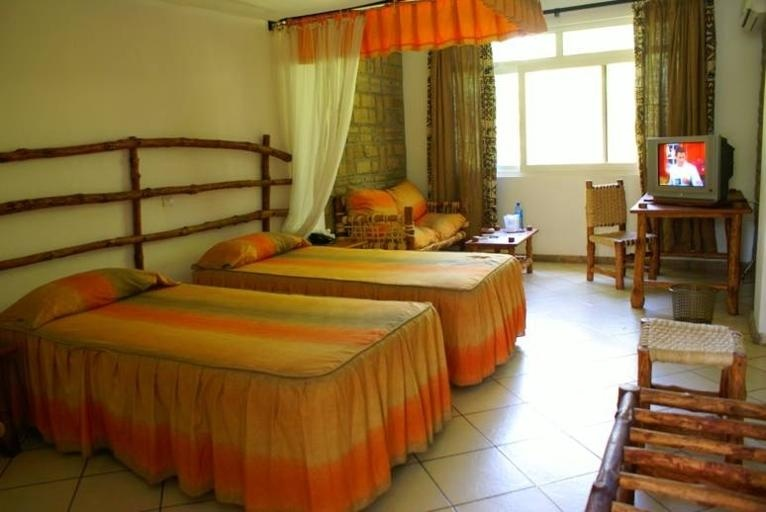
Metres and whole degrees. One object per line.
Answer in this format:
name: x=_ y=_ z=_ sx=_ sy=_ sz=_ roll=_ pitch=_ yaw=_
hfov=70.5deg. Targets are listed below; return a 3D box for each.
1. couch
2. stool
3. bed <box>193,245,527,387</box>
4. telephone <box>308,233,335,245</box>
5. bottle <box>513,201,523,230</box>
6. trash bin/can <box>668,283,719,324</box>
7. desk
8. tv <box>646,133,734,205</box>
couch: x=0.033 y=-0.354 z=7.032 sx=0.954 sy=0.631 sz=1.551 roll=4 pitch=8 yaw=9
stool: x=1.947 y=0.760 z=3.439 sx=0.704 sy=0.549 sz=0.713 roll=3 pitch=7 yaw=31
bed: x=-0.275 y=0.443 z=5.385 sx=3.131 sy=0.837 sz=1.868 roll=1 pitch=9 yaw=20
telephone: x=-0.709 y=-0.202 z=6.217 sx=0.340 sy=0.121 sz=0.113 roll=0 pitch=19 yaw=-2
bottle: x=1.881 y=-0.559 z=7.433 sx=0.128 sy=0.358 sz=0.587 roll=3 pitch=12 yaw=14
trash bin/can: x=2.891 y=0.476 z=5.088 sx=0.457 sy=0.336 sz=0.442 roll=13 pitch=-14 yaw=-36
desk: x=3.468 y=-0.144 z=6.102 sx=1.032 sy=1.041 sz=1.314 roll=-1 pitch=11 yaw=31
tv: x=3.460 y=-0.903 z=6.025 sx=0.857 sy=0.728 sz=0.806 roll=-9 pitch=10 yaw=-42
